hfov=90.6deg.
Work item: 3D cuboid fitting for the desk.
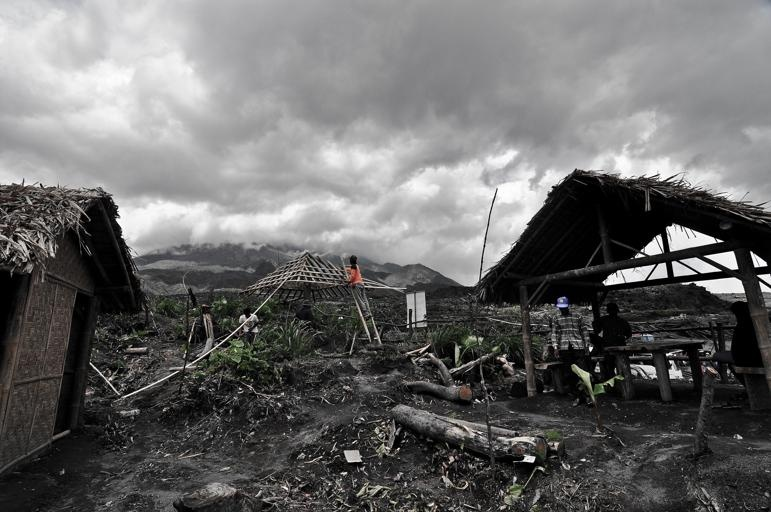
[{"bbox_3d":[6.648,2.540,9.260,2.049,1.190,1.777,15,-23,-39],"label":"desk"}]

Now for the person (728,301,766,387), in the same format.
[{"bbox_3d":[7.656,1.635,8.009,0.445,1.501,1.070,3,10,31],"label":"person"}]

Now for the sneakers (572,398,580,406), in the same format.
[{"bbox_3d":[4.731,3.563,9.403,0.150,0.099,0.318,4,10,40],"label":"sneakers"}]
